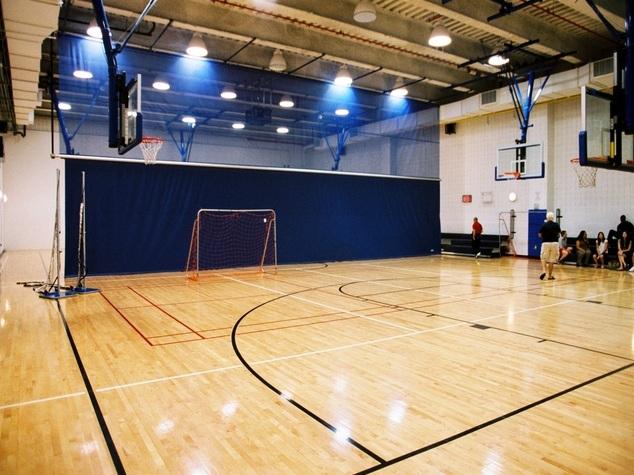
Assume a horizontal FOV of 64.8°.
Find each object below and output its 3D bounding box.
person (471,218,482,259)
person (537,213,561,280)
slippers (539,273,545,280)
[{"bbox_3d":[5.316,0.005,16.615,0.274,1.350,0.817,2,11,16],"label":"person"},{"bbox_3d":[5.169,0.192,11.225,0.491,1.507,0.409,0,2,-15],"label":"person"},{"bbox_3d":[5.097,0.876,11.339,0.126,0.081,0.231,5,-18,7],"label":"slippers"}]
